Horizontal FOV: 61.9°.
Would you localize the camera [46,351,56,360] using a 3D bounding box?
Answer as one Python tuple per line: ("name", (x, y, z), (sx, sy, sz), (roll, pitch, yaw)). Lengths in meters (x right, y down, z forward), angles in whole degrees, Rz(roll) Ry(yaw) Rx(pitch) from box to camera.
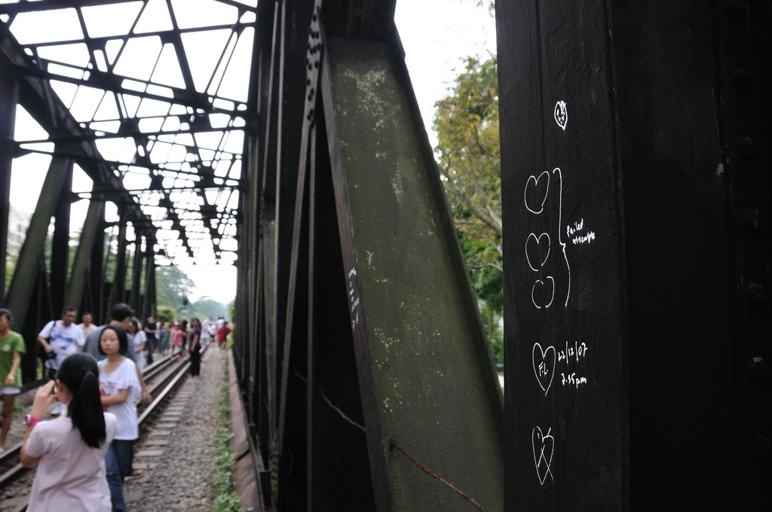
("camera", (-4.282, 1.280, 8.210), (0.089, 0.090, 0.091), (0, -5, 27))
